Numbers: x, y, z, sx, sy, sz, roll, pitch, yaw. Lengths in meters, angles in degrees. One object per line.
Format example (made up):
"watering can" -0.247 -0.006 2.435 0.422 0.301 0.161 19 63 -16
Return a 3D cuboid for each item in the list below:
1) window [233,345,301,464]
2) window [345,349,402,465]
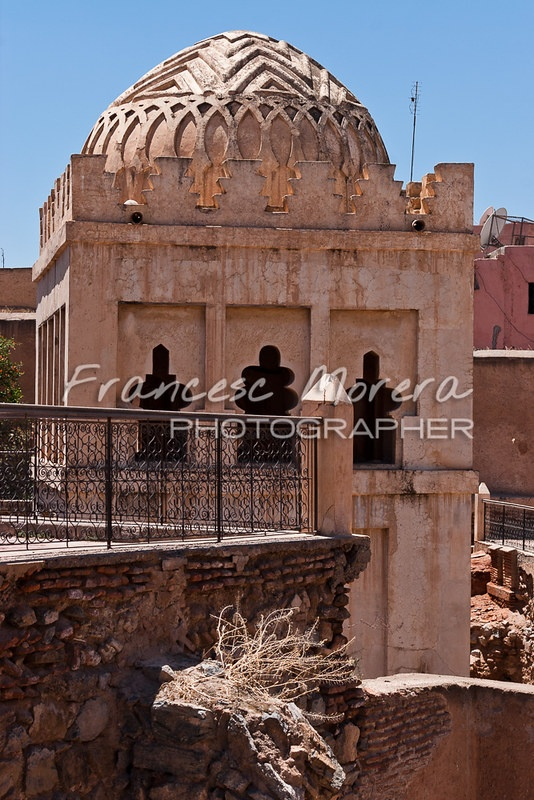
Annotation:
"window" 0.000 0.068 12.347 0.891 1.731 0.249 1 25 -3
"window" 1.401 0.091 13.656 0.665 1.472 0.142 2 16 12
